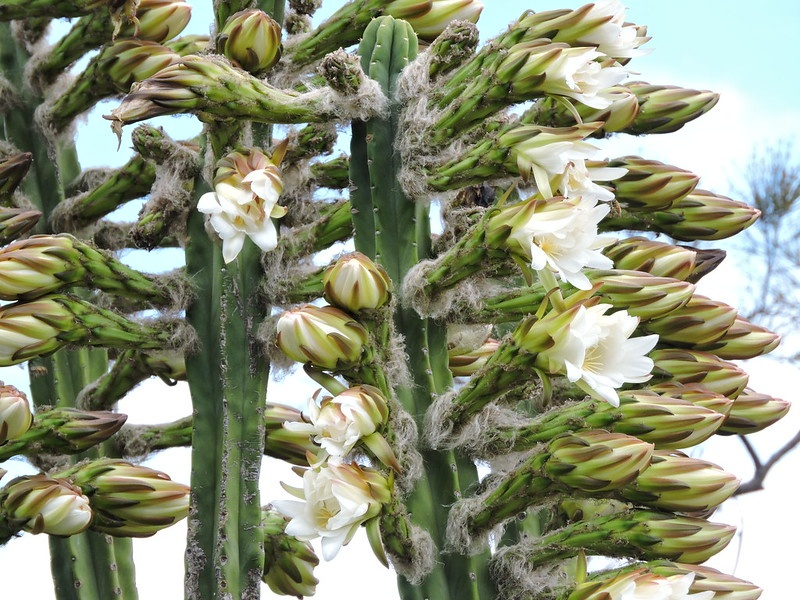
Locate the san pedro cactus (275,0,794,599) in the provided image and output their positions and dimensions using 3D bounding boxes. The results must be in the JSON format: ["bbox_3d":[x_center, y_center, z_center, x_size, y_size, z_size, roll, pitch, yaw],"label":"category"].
[{"bbox_3d":[0.307,-0.058,3.788,1.309,1.540,1.156,3,4,13],"label":"san pedro cactus"}]

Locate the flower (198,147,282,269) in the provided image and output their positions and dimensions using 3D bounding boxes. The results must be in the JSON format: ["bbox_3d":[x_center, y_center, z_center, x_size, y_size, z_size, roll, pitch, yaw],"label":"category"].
[{"bbox_3d":[-0.295,-0.195,3.479,0.170,0.236,0.114,-13,-30,41],"label":"flower"}]

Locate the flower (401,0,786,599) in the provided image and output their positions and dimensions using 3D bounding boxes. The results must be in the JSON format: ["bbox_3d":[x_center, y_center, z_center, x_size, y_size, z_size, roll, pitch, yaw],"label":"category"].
[{"bbox_3d":[0.370,0.037,3.408,0.869,1.158,0.425,-1,0,14],"label":"flower"}]

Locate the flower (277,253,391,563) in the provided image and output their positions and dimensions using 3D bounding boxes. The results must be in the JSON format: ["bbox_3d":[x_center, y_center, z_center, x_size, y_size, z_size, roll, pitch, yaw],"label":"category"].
[{"bbox_3d":[-0.124,0.223,3.349,0.241,0.544,0.396,0,-39,-1],"label":"flower"}]
